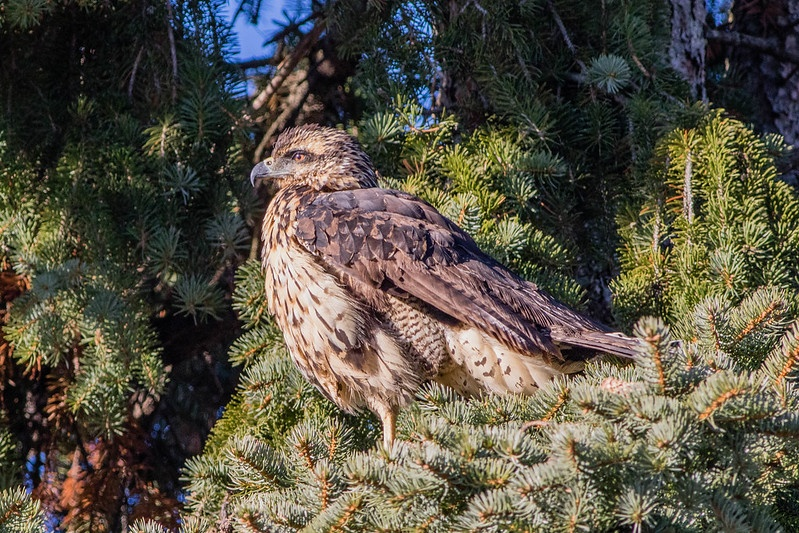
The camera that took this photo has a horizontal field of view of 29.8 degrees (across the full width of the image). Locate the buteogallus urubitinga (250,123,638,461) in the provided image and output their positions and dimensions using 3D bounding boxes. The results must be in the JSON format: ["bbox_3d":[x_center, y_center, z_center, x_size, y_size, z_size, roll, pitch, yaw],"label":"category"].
[{"bbox_3d":[0.247,0.023,7.766,1.894,1.807,1.079,3,-14,1],"label":"buteogallus urubitinga"}]
